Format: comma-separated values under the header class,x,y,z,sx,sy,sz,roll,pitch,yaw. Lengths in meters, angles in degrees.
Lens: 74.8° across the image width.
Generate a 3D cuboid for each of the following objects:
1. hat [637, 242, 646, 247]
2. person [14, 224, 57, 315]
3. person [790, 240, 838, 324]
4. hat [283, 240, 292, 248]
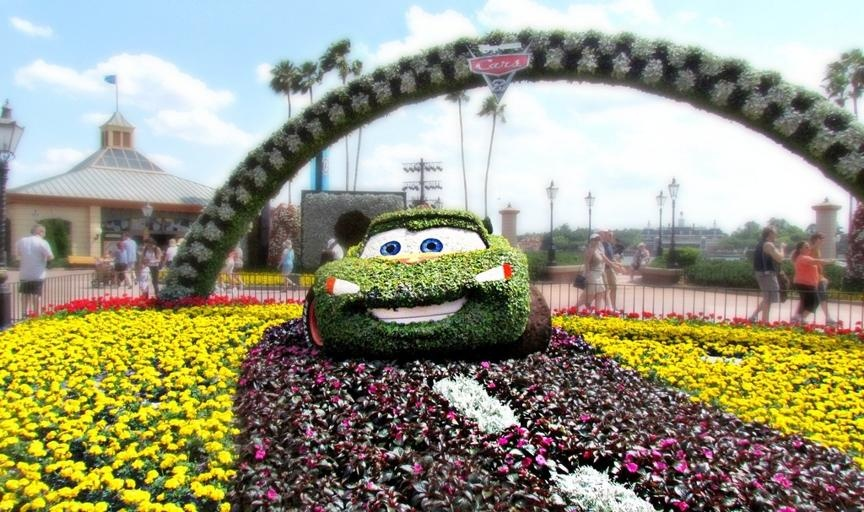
class,x,y,z,sx,sy,sz,roll,pitch,yaw
hat,8.113,-0.414,21.789,0.433,0.123,0.433,-2,7,28
person,-9.157,0.286,12.988,0.683,2.097,1.084,-8,15,-34
person,8.106,0.595,12.172,0.641,2.018,1.558,10,15,34
hat,-4.710,-0.375,18.347,0.395,0.210,0.517,-4,7,-8
